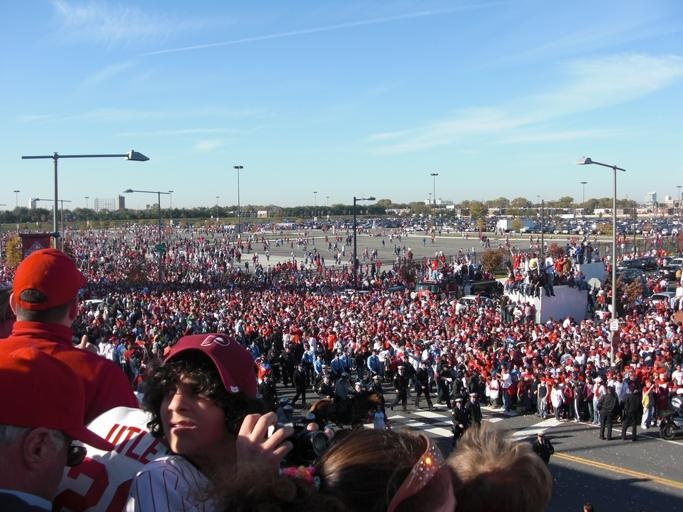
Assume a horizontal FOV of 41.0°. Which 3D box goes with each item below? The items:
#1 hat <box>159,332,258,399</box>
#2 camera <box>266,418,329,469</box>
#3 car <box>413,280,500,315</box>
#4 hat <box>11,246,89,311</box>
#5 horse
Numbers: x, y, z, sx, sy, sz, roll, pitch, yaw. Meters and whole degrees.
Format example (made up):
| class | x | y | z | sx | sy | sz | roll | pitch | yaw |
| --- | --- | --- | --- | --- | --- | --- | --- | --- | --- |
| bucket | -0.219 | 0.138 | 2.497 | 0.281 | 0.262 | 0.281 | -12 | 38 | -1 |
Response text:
| class | x | y | z | sx | sy | sz | roll | pitch | yaw |
| --- | --- | --- | --- | --- | --- | --- | --- | --- | --- |
| hat | -1.083 | 1.001 | 8.851 | 0.853 | 0.421 | 0.535 | 22 | -19 | -29 |
| camera | -0.347 | 1.714 | 8.534 | 0.515 | 0.347 | 0.445 | 0 | 1 | -35 |
| car | 5.538 | 1.926 | 38.669 | 2.548 | 1.579 | 1.571 | 0 | 1 | -29 |
| hat | -2.913 | 0.161 | 9.132 | 0.661 | 0.525 | 0.881 | 4 | 13 | 11 |
| horse | 0.090 | 1.568 | 9.289 | 0.480 | 0.394 | 1.026 | 0 | -1 | 33 |
